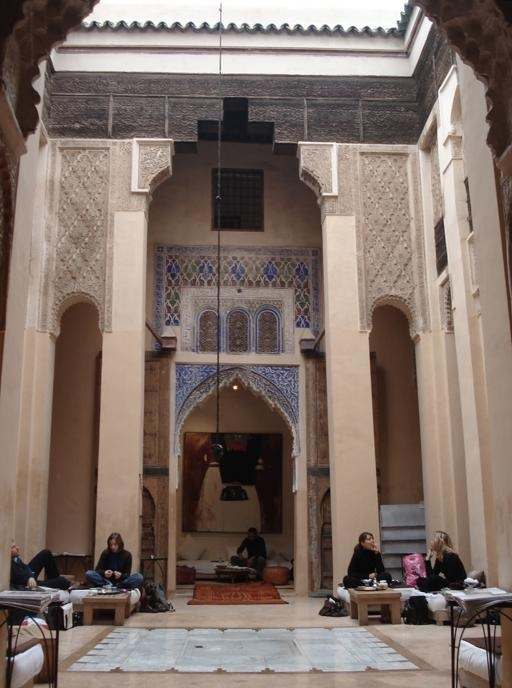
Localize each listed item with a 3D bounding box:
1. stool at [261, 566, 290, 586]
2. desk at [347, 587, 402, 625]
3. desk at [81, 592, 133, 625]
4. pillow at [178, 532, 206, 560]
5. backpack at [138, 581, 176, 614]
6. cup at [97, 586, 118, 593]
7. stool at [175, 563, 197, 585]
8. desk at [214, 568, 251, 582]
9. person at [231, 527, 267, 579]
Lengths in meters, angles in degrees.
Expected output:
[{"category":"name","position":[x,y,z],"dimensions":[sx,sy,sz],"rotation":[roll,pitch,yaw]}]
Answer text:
[{"category":"stool","position":[0.337,3.690,10.115],"dimensions":[0.290,0.203,0.286],"rotation":[1,-12,-1]},{"category":"desk","position":[1.063,2.304,5.677],"dimensions":[0.446,0.269,0.443],"rotation":[2,-16,-2]},{"category":"desk","position":[-1.359,2.411,5.837],"dimensions":[0.443,0.261,0.702],"rotation":[4,-17,-13]},{"category":"pillow","position":[-1.141,3.659,11.504],"dimensions":[0.528,0.445,0.456],"rotation":[2,-16,-6]},{"category":"backpack","position":[-1.115,2.686,6.874],"dimensions":[0.262,0.177,0.387],"rotation":[17,-2,-28]},{"category":"cup","position":[-1.352,2.263,5.853],"dimensions":[0.120,0.063,0.162],"rotation":[-1,-10,17]},{"category":"stool","position":[-1.116,3.791,10.199],"dimensions":[0.267,0.324,0.482],"rotation":[-2,-9,6]},{"category":"desk","position":[-0.347,3.704,10.249],"dimensions":[0.577,0.246,0.912],"rotation":[1,-16,-1]},{"category":"person","position":[-0.054,3.562,10.749],"dimensions":[0.603,0.905,0.533],"rotation":[-11,-25,29]}]
